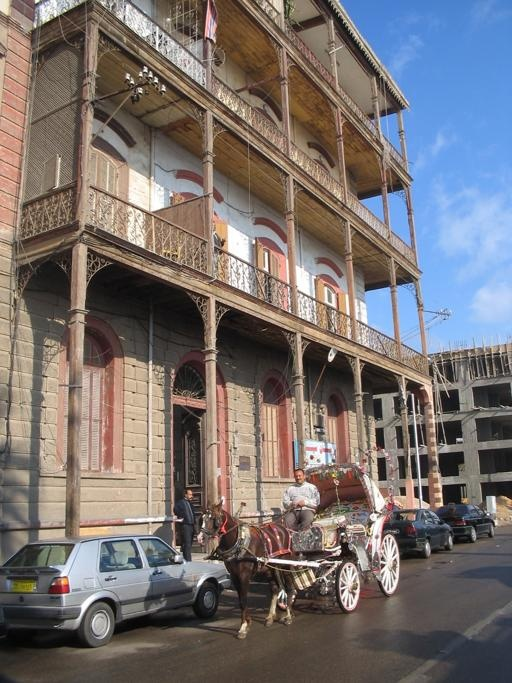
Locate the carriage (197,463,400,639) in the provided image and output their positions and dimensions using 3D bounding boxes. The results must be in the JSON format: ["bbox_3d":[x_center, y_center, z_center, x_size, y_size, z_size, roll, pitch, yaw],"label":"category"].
[{"bbox_3d":[0.551,2.888,9.254,1.650,2.033,4.328,-15,-21,36],"label":"carriage"}]

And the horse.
[{"bbox_3d":[-0.038,2.773,7.658,0.583,1.428,1.763,-18,-25,37],"label":"horse"}]
